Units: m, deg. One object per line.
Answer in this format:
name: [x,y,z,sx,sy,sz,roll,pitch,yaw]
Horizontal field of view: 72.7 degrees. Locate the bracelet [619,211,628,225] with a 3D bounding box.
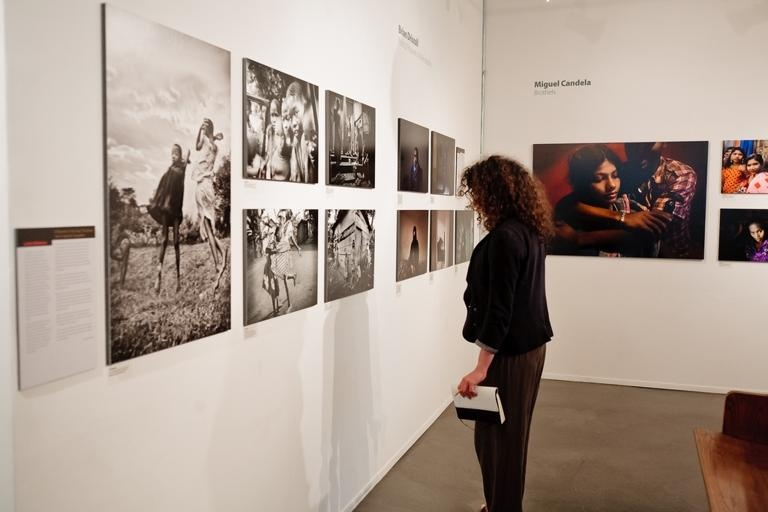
bracelet: [3.472,-0.568,7.581,0.045,0.170,0.117,5,8,5]
